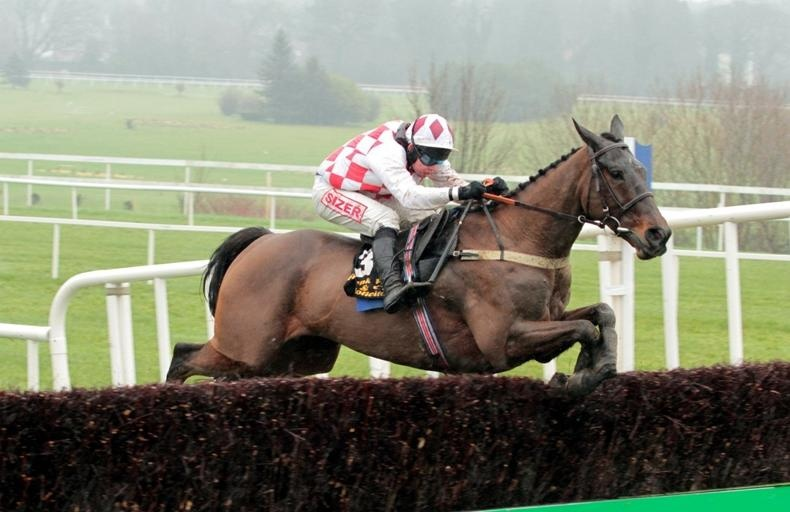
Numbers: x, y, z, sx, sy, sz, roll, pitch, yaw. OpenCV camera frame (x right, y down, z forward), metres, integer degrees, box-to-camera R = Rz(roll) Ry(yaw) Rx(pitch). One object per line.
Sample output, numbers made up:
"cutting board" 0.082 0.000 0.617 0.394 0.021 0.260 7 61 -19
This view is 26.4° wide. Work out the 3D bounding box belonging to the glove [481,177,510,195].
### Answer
"glove" 1.608 -1.097 26.650 0.403 0.117 0.306 13 10 39
